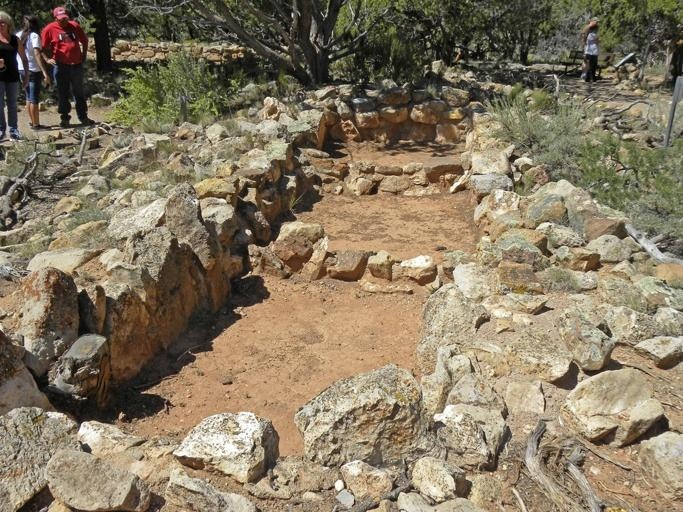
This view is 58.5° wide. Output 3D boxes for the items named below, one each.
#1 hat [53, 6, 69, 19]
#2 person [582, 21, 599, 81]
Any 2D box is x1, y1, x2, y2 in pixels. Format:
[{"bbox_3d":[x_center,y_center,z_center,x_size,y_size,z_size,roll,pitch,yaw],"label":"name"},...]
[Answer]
[{"bbox_3d":[-4.925,-4.241,10.679,0.199,0.183,0.446,-10,24,-20],"label":"hat"},{"bbox_3d":[6.253,-5.112,15.265,0.412,1.499,0.870,7,22,20],"label":"person"}]
